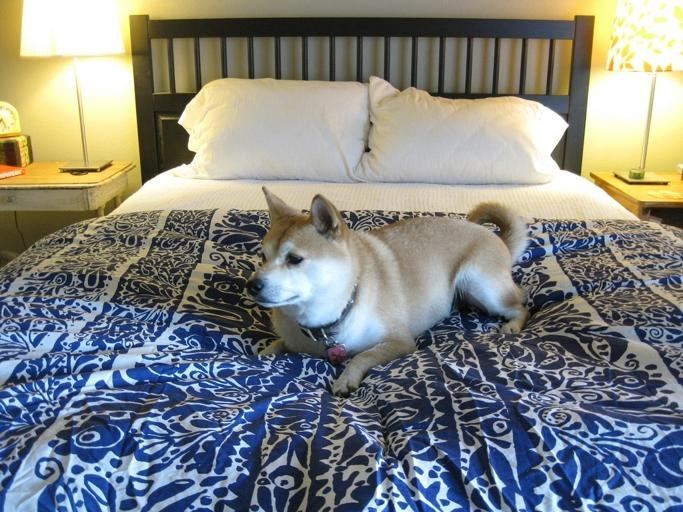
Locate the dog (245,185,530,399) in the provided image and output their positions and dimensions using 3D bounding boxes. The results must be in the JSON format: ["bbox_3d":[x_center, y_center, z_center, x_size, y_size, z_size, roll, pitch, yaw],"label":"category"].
[{"bbox_3d":[0.182,0.028,1.648,1.138,0.460,0.481,-12,23,-38],"label":"dog"}]
